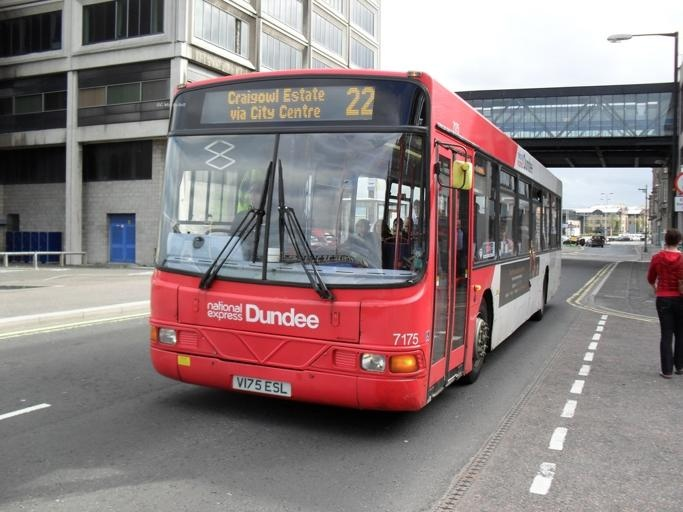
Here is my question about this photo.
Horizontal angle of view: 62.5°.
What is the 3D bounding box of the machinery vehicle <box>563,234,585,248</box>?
[{"bbox_3d":[41.876,-2.627,100.674,2.712,1.622,4.619,4,5,33],"label":"machinery vehicle"}]
